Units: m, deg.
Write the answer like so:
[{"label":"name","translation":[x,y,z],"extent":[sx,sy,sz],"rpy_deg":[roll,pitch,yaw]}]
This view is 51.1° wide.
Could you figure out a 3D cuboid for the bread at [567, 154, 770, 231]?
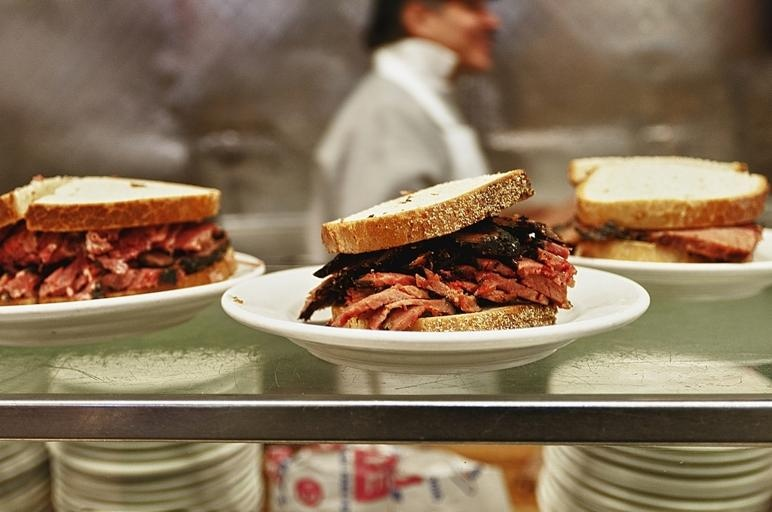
[{"label":"bread","translation":[0.604,-0.143,1.750],"extent":[0.383,0.102,0.351],"rpy_deg":[-2,17,8]}]
